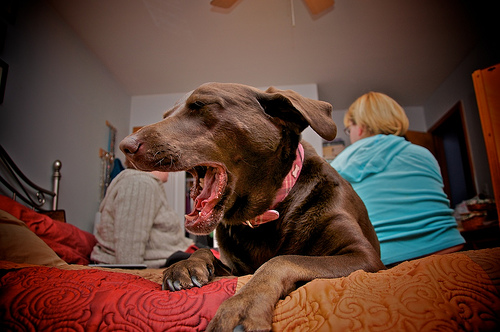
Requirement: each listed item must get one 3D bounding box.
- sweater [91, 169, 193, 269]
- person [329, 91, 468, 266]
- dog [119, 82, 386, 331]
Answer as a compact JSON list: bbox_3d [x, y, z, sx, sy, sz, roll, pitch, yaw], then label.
[{"bbox_3d":[-0.647,0.356,2.142,0.549,0.533,0.624,1,-18,-1],"label":"sweater"},{"bbox_3d":[0.749,0.033,1.834,0.603,0.848,0.778,-8,-3,-18],"label":"person"},{"bbox_3d":[0.080,0.170,1.495,0.803,0.773,1.068,-14,-21,40],"label":"dog"}]
